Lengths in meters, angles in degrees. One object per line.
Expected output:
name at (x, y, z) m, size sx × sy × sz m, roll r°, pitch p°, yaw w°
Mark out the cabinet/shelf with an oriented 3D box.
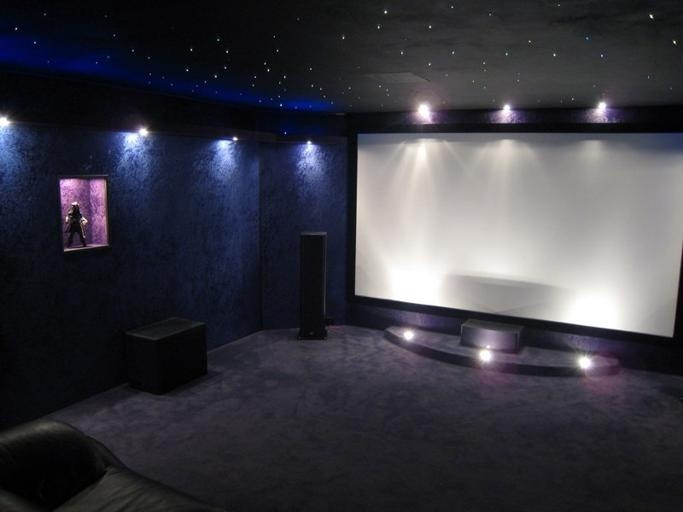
cabinet/shelf at (-2.001, 1.139, 5.608) m, size 0.583 × 0.661 × 0.779 m, roll 5°, pitch 10°, yaw 32°
